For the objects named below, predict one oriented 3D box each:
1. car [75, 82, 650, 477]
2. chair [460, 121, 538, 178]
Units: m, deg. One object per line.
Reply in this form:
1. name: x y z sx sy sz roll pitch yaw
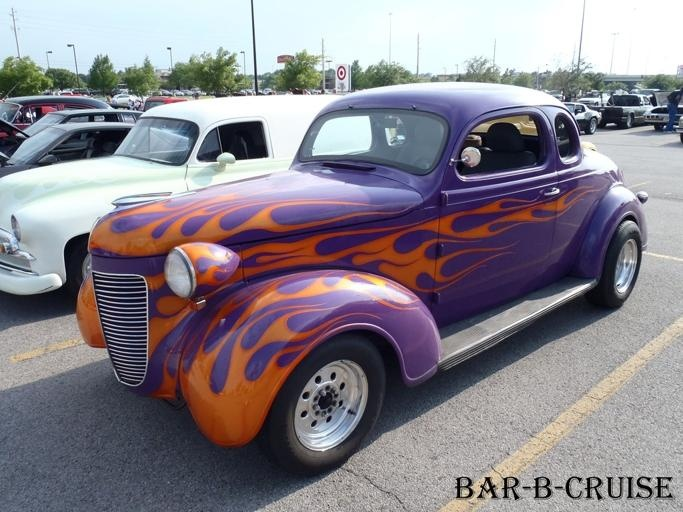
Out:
1. car: 0.498 0.009 4.091 4.708 2.017 2.549 -12 16 -31
2. chair: 1.449 -0.903 3.911 0.629 0.664 0.442 8 9 18
